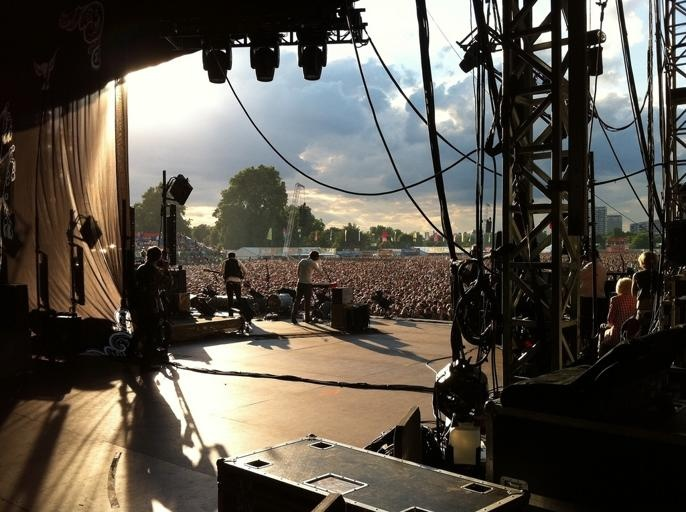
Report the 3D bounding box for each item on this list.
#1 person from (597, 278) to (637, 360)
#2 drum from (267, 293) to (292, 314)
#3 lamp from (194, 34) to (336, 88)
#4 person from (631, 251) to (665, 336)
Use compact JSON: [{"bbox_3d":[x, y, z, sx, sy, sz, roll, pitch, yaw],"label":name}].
[{"bbox_3d":[3.949,0.839,9.024,0.495,0.954,1.184,1,4,24],"label":"person"},{"bbox_3d":[-1.866,1.460,18.618,0.554,0.641,0.645,-4,-5,7],"label":"drum"},{"bbox_3d":[-1.734,-4.217,13.282,2.769,0.963,1.048,1,4,21],"label":"lamp"},{"bbox_3d":[4.519,0.551,9.350,0.351,1.181,1.941,2,4,26],"label":"person"}]
